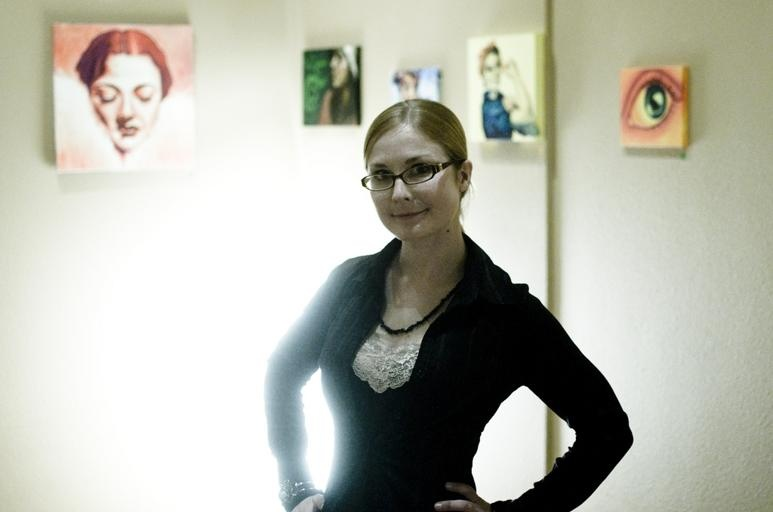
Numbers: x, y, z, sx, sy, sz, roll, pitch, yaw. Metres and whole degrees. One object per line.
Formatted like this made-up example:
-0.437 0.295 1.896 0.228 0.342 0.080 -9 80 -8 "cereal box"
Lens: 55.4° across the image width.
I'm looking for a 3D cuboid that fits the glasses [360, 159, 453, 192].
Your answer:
0.077 -0.275 2.538 0.326 0.101 0.086 -1 8 2 "glasses"
